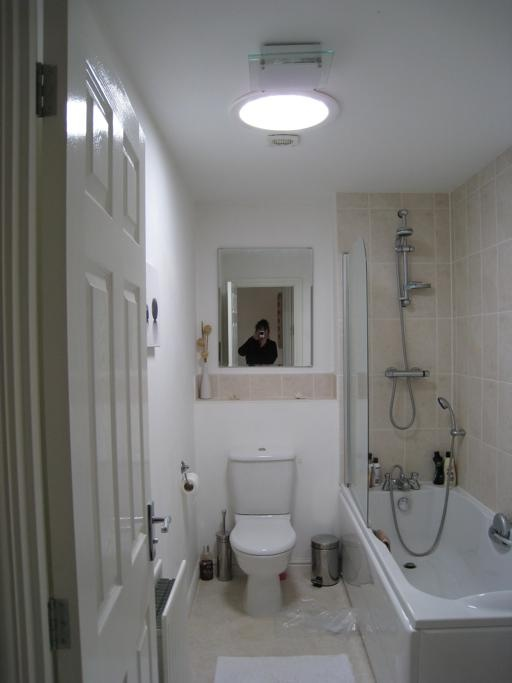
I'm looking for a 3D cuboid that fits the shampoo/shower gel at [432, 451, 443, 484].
[{"bbox_3d":[1.034,0.709,2.997,0.058,0.170,0.106,-2,1,22],"label":"shampoo/shower gel"}]

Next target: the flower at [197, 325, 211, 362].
[{"bbox_3d":[-0.302,0.008,3.164,0.090,0.191,0.138,-3,1,-7],"label":"flower"}]

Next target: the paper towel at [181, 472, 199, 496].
[{"bbox_3d":[-0.301,0.631,2.428,0.049,0.115,0.084,2,-3,0],"label":"paper towel"}]

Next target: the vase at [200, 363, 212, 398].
[{"bbox_3d":[-0.299,0.231,3.159,0.066,0.174,0.126,-3,1,-6],"label":"vase"}]

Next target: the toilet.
[{"bbox_3d":[0.036,1.005,2.822,0.236,0.754,0.557,0,8,1],"label":"toilet"}]

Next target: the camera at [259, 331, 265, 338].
[{"bbox_3d":[0.040,-0.042,3.215,0.029,0.068,0.029,1,2,10],"label":"camera"}]

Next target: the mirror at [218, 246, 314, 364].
[{"bbox_3d":[0.066,-0.200,3.217,0.423,0.914,0.032,0,-1,-1],"label":"mirror"}]

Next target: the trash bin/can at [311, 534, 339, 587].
[{"bbox_3d":[0.383,1.185,2.889,0.119,0.258,0.193,0,-5,12],"label":"trash bin/can"}]
